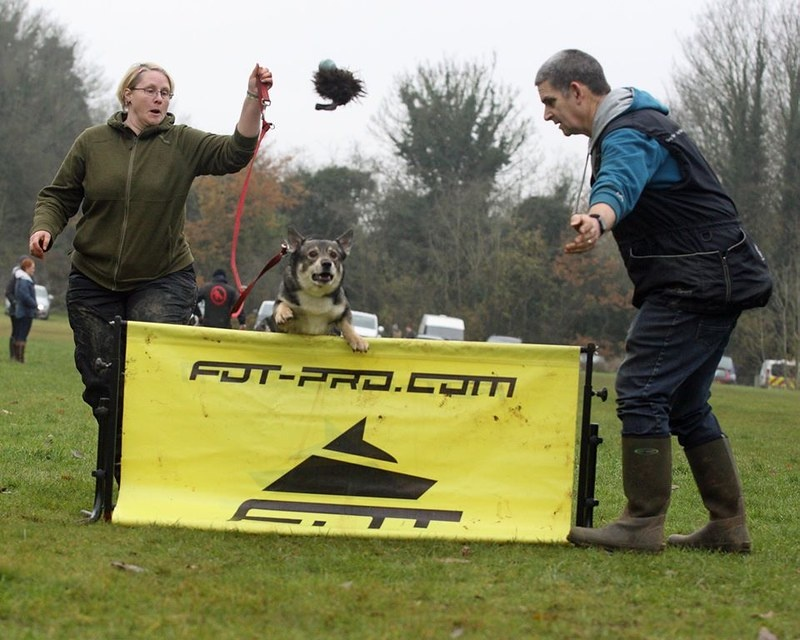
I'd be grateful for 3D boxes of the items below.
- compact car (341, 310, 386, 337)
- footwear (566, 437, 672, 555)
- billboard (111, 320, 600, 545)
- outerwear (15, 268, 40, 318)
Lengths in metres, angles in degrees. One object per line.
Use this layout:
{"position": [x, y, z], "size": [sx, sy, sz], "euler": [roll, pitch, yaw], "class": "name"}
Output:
{"position": [-0.586, 0.124, 24.964], "size": [0.643, 0.549, 1.340], "euler": [3, 5, -4], "class": "compact car"}
{"position": [1.538, 1.209, 9.215], "size": [0.737, 0.835, 0.299], "euler": [1, -14, 16], "class": "footwear"}
{"position": [-0.333, 0.857, 9.459], "size": [3.486, 1.428, 0.295], "euler": [4, -4, -7], "class": "billboard"}
{"position": [-5.575, -0.373, 19.704], "size": [0.334, 0.704, 0.511], "euler": [0, 3, -15], "class": "outerwear"}
